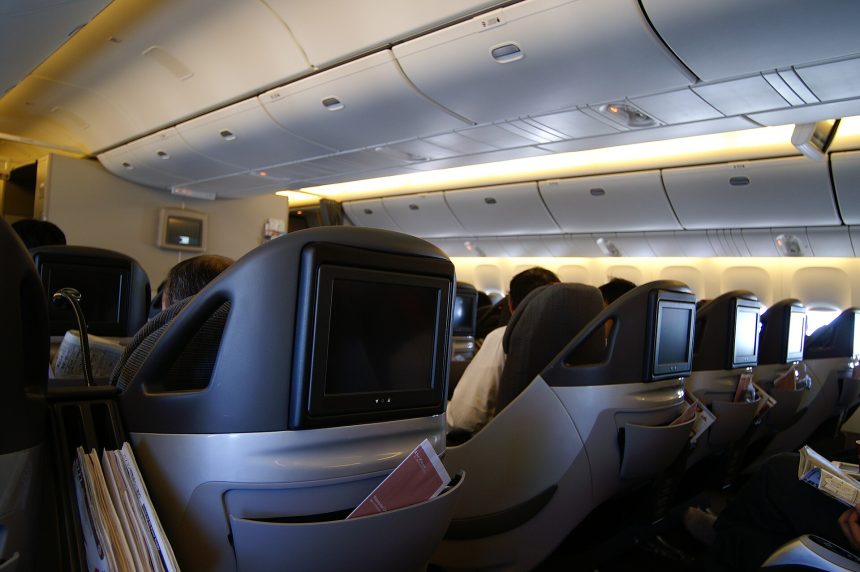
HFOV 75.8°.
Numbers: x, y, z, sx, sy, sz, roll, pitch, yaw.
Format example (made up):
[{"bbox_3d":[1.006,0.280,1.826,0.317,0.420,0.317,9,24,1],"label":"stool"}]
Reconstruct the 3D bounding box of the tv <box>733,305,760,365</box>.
[{"bbox_3d":[2.033,0.306,3.537,0.040,0.399,0.397,2,-2,39],"label":"tv"}]

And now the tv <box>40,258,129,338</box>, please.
[{"bbox_3d":[-1.966,0.041,3.126,0.255,0.444,0.498,3,1,40],"label":"tv"}]

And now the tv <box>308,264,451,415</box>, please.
[{"bbox_3d":[-0.183,0.168,1.829,0.509,0.444,0.051,5,-4,-44],"label":"tv"}]

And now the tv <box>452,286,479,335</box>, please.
[{"bbox_3d":[0.292,0.243,5.578,0.311,0.520,0.280,7,-3,-29],"label":"tv"}]

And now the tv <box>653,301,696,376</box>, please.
[{"bbox_3d":[1.253,0.257,2.831,0.040,0.394,0.391,2,-2,42],"label":"tv"}]

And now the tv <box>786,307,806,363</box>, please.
[{"bbox_3d":[2.786,0.356,4.200,0.382,0.420,0.033,3,2,-40],"label":"tv"}]
